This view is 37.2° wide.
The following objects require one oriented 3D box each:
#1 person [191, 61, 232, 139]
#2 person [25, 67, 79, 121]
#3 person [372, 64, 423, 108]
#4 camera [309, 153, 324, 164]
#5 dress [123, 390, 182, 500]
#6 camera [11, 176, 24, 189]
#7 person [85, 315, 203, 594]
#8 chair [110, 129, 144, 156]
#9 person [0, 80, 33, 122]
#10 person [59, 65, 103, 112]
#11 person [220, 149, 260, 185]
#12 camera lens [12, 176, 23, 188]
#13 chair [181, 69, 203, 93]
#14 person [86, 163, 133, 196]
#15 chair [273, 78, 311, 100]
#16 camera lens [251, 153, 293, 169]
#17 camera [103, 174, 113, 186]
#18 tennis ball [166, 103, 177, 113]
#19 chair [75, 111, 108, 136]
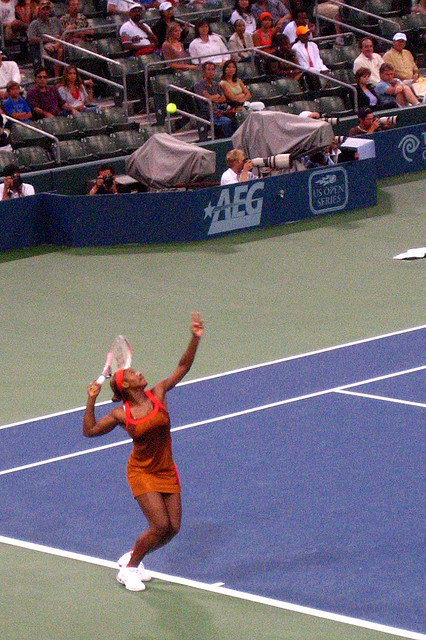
[{"bbox_3d":[-0.049,-5.220,14.945,0.899,1.714,1.037,-2,11,-1],"label":"person"},{"bbox_3d":[-3.641,-4.986,14.115,1.064,1.239,0.896,5,25,29],"label":"person"},{"bbox_3d":[4.759,-6.125,16.466,1.113,1.039,0.420,-5,11,-16],"label":"person"},{"bbox_3d":[2.186,-3.419,13.315,0.185,0.160,0.253,6,42,7],"label":"camera"},{"bbox_3d":[-0.346,0.723,3.601,0.303,0.625,0.315,-3,11,-9],"label":"dress"},{"bbox_3d":[-3.571,-2.553,11.527,0.157,0.233,0.093,2,28,-41],"label":"camera"},{"bbox_3d":[-0.439,0.903,3.722,0.519,1.489,0.618,-1,11,2],"label":"person"},{"bbox_3d":[-1.907,-3.961,14.047,0.414,0.553,0.672,7,13,37],"label":"chair"},{"bbox_3d":[-4.360,-4.795,13.889,0.666,0.807,0.529,-3,11,-6],"label":"person"},{"bbox_3d":[-3.075,-5.317,14.738,0.765,1.225,1.159,-22,30,-35],"label":"person"},{"bbox_3d":[0.494,-2.896,11.871,0.695,0.635,0.494,-2,11,-5],"label":"person"},{"bbox_3d":[-3.551,-2.533,11.533,0.104,0.199,0.267,1,11,13],"label":"camera lens"},{"bbox_3d":[-0.527,-5.974,15.734,0.615,0.541,0.734,-2,0,-6],"label":"chair"},{"bbox_3d":[-1.974,-2.576,11.888,0.793,0.842,0.342,-2,13,-18],"label":"person"},{"bbox_3d":[2.085,-6.057,16.479,0.972,0.655,0.750,-6,11,-21],"label":"chair"},{"bbox_3d":[1.134,-3.004,11.905,0.807,0.319,0.314,-2,0,20],"label":"camera lens"},{"bbox_3d":[-1.934,-2.587,11.632,0.150,0.168,0.160,3,41,-10],"label":"camera"},{"bbox_3d":[-0.862,-4.499,13.335,0.232,0.250,0.275,0,10,-14],"label":"tennis ball"},{"bbox_3d":[-2.692,-4.412,14.113,0.712,0.593,0.765,-6,11,-20],"label":"chair"}]
